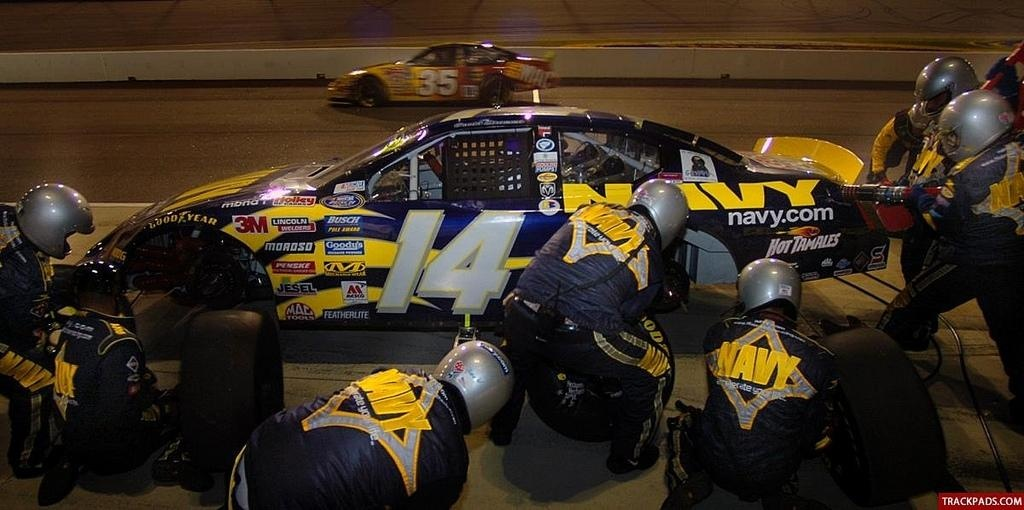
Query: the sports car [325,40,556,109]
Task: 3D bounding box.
[{"bbox_3d":[-1.620,-4.198,18.198,5.104,1.036,2.198,1,18,-1],"label":"sports car"}]
